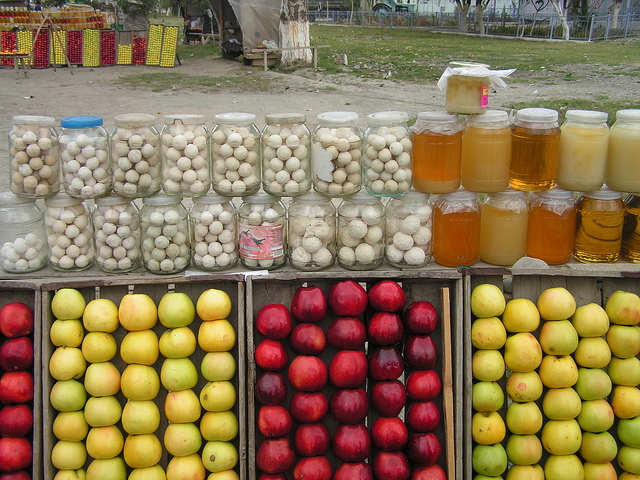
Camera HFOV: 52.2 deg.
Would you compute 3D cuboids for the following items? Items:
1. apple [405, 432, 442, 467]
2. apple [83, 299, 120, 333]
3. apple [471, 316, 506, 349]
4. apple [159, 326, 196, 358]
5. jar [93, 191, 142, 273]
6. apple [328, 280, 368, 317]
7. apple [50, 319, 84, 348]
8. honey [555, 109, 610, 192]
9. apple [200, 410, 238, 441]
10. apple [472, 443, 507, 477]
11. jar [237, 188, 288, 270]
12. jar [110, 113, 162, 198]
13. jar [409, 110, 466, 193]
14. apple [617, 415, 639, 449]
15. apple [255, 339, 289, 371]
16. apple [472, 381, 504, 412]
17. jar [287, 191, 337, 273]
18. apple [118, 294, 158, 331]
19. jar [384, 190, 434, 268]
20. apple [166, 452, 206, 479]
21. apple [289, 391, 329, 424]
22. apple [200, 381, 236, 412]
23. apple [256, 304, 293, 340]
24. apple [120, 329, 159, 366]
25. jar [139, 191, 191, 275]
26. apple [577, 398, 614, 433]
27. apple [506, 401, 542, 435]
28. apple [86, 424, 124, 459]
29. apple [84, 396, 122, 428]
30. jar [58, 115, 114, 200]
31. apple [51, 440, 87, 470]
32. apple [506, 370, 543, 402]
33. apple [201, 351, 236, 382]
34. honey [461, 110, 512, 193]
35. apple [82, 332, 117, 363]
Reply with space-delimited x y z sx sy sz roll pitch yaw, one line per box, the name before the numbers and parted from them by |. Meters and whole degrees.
apple | 0.642 1.272 3.997 0.197 0.250 0.219 -4 12 6
apple | -1.343 0.453 4.041 0.221 0.230 0.206 -4 17 -17
apple | 1.070 0.543 4.087 0.231 0.242 0.250 -3 6 17
apple | -0.864 0.621 3.938 0.186 0.176 0.187 -6 -33 -4
jar | -1.301 -0.055 4.180 0.297 0.499 0.196 -9 20 -19
apple | 0.167 0.366 4.072 0.240 0.239 0.243 -5 5 -6
apple | -1.545 0.575 4.053 0.165 0.177 0.171 4 -29 -2
honey | 1.670 -0.558 4.148 0.297 0.501 0.253 6 21 21
apple | -0.616 1.128 4.032 0.187 0.194 0.182 -1 44 2
apple | 1.034 1.330 3.970 0.195 0.194 0.196 -4 -20 10
jar | -0.374 -0.065 4.268 0.311 0.506 0.316 1 20 0
jar | -1.193 -0.555 4.175 0.297 0.497 0.304 13 20 -5
jar | 0.759 -0.584 4.204 0.436 0.579 0.431 -2 12 0
apple | 1.906 1.180 4.022 0.155 0.160 0.158 -2 -8 -1
apple | -0.299 0.706 4.018 0.212 0.205 0.217 6 0 4
apple | 1.051 0.964 4.042 0.177 0.174 0.177 -10 -13 4
jar | -0.042 -0.059 4.167 0.307 0.477 0.210 -1 19 1
apple | -1.131 0.429 4.052 0.243 0.252 0.253 3 11 -9
jar | 0.566 -0.065 4.153 0.300 0.472 0.200 0 19 5
apple | -0.813 1.321 3.923 0.158 0.171 0.158 -1 3 2
apple | -0.067 1.023 4.017 0.254 0.219 0.277 4 -2 -10
apple | -0.611 0.941 3.946 0.185 0.185 0.180 8 -1 -1
apple | -0.282 0.504 4.069 0.241 0.251 0.250 0 -5 1
apple | -1.075 0.637 4.033 0.208 0.221 0.211 2 32 6
jar | -1.023 -0.047 4.239 0.315 0.534 0.310 3 18 -1
apple | 1.682 1.057 4.022 0.189 0.195 0.192 -5 -9 -5
apple | 1.242 1.086 4.039 0.196 0.190 0.197 0 -25 -4
apple | -1.301 1.258 4.015 0.222 0.216 0.219 -14 -14 19
apple | -1.362 1.061 4.007 0.229 0.227 0.221 7 -17 -15
jar | -1.470 -0.511 4.104 0.311 0.501 0.261 -10 21 -22
apple | -1.506 1.342 4.017 0.201 0.216 0.216 -10 -19 -7
apple | 1.278 0.906 4.053 0.209 0.198 0.197 18 -15 -42
apple | -0.624 0.771 4.041 0.180 0.189 0.177 1 46 -1
honey | 1.055 -0.562 4.126 0.302 0.483 0.233 4 20 16
apple | -1.336 0.645 3.955 0.178 0.184 0.183 -2 -25 3
